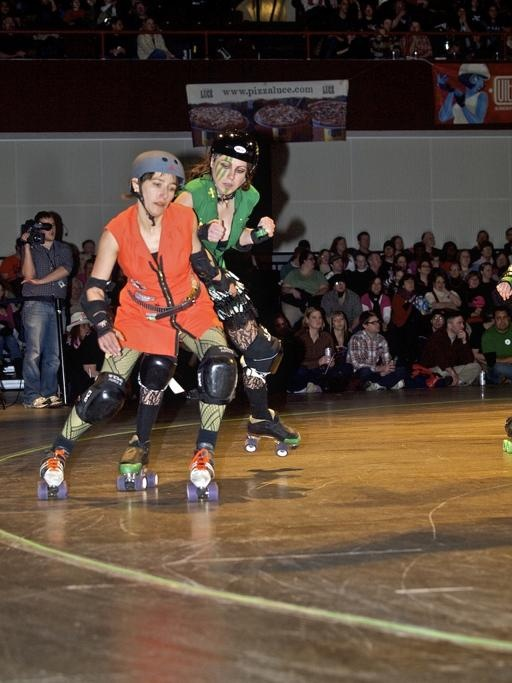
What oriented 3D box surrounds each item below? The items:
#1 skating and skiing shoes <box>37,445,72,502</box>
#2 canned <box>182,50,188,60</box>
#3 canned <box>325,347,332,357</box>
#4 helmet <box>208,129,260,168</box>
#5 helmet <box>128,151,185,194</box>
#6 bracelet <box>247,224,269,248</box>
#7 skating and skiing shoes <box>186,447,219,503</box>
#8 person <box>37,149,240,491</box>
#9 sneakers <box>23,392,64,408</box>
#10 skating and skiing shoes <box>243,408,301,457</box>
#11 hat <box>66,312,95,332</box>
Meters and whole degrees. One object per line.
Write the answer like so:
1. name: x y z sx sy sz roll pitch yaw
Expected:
1. skating and skiing shoes: -0.867 0.563 2.631 0.129 0.208 0.175 -1 -4 -19
2. canned: -1.139 -4.663 9.946 0.123 0.165 0.039 -4 -4 22
3. canned: 0.876 0.116 7.502 0.098 0.116 0.091 4 -5 -19
4. helmet: -0.101 -0.907 2.846 0.172 0.163 0.188 11 -1 -10
5. helmet: -0.421 -0.719 2.621 0.158 0.127 0.186 -7 6 -41
6. bracelet: 0.024 -0.522 3.031 0.096 0.051 0.132 -44 -21 15
7. skating and skiing shoes: -0.224 0.545 2.525 0.122 0.207 0.196 -2 -4 -6
8. person: -0.502 -0.071 2.700 0.831 1.461 0.470 -3 -4 -1
9. sneakers: -2.277 0.642 6.629 0.405 0.158 0.146 6 22 -19
10. skating and skiing shoes: 0.092 0.481 3.461 0.368 0.235 0.205 9 27 6
11. hat: -1.815 -0.197 6.371 0.320 0.155 0.323 -13 -3 -3
